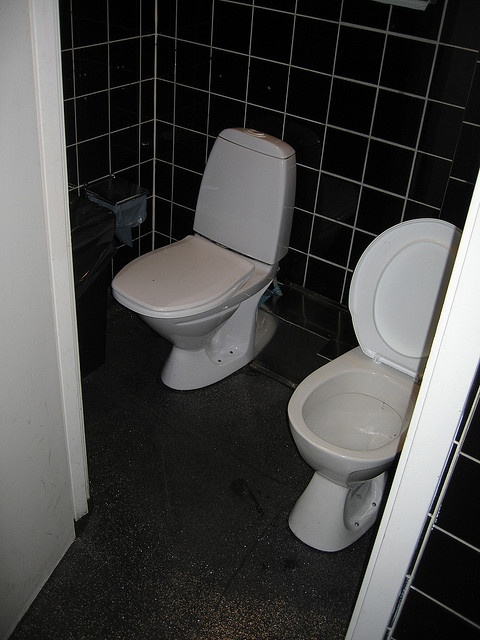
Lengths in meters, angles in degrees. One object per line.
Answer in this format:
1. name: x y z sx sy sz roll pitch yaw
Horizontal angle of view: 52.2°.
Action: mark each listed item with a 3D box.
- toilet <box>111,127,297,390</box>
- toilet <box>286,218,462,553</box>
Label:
1. toilet: -0.145 -0.196 1.899 0.387 0.958 0.675 29 40 30
2. toilet: 0.323 0.189 1.379 0.327 0.959 0.425 22 29 24
